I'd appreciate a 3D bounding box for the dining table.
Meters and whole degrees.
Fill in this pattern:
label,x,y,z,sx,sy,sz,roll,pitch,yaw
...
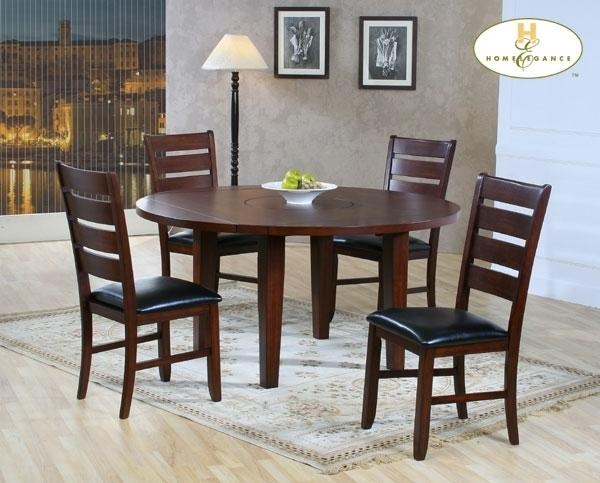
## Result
label,x,y,z,sx,sy,sz,roll,pitch,yaw
dining table,0.016,0.300,2.798,1.435,0.592,1.256,-4,12,-18

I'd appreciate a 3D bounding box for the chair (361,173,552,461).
label,x,y,z,sx,sy,sz,roll,pitch,yaw
chair,0.559,0.256,2.091,0.534,0.997,0.407,-5,15,-24
